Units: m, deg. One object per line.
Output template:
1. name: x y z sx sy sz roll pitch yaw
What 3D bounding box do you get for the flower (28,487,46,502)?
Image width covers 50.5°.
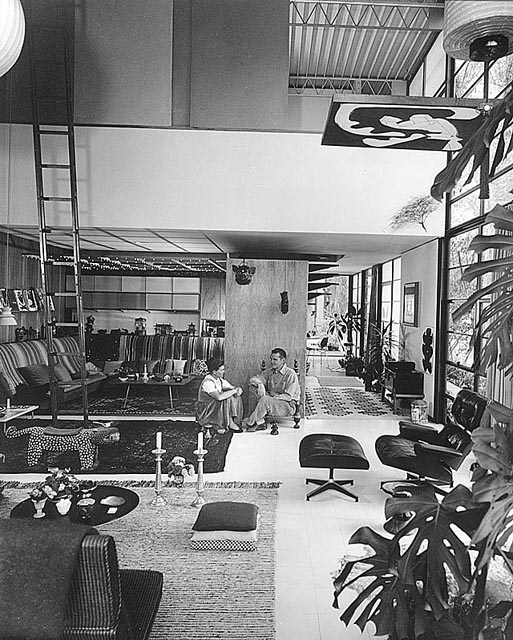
1. flower: -1.482 1.194 3.675 0.081 0.034 0.092 5 5 21

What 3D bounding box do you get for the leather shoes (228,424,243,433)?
1. leather shoes: -0.291 1.486 7.389 0.216 0.085 0.082 0 -2 -8

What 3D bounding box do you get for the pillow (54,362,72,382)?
1. pillow: -3.245 0.882 9.106 0.139 0.163 0.466 -19 6 -14

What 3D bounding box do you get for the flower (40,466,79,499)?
1. flower: -1.390 1.164 3.841 0.243 0.144 0.234 2 2 1

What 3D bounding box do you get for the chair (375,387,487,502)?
1. chair: 1.565 1.146 4.908 0.928 0.915 0.992 1 2 25

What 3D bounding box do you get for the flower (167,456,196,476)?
1. flower: -0.664 1.364 4.871 0.212 0.111 0.272 5 -2 4

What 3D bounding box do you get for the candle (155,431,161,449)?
1. candle: -0.797 0.995 4.454 0.035 0.169 0.191 0 2 -15

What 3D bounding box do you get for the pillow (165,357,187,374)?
1. pillow: -1.543 0.884 10.405 0.282 0.305 0.128 5 -20 -9

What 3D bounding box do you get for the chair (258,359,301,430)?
1. chair: 0.326 1.042 7.918 0.758 0.914 0.623 1 -2 -4

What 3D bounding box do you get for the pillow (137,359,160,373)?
1. pillow: -2.075 0.888 10.386 0.305 0.220 0.720 0 2 14

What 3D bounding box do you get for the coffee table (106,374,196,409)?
1. coffee table: -1.751 1.149 9.342 1.259 0.503 1.507 0 2 5

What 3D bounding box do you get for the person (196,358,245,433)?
1. person: -0.504 1.007 7.271 0.530 0.975 0.515 1 7 15

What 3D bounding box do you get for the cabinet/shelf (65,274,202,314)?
1. cabinet/shelf: -2.613 -0.624 12.407 2.685 0.838 0.210 0 2 2

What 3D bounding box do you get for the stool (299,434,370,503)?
1. stool: 0.668 1.254 4.907 0.440 0.364 0.673 1 -1 3

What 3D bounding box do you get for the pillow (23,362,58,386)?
1. pillow: -3.326 0.824 8.174 0.389 0.258 0.822 -1 2 -24

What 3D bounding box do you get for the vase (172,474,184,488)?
1. vase: -0.693 1.454 4.851 0.107 0.097 0.131 2 -19 -9

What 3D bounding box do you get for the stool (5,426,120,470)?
1. stool: -1.946 1.275 5.425 1.121 0.483 0.607 1 2 24
